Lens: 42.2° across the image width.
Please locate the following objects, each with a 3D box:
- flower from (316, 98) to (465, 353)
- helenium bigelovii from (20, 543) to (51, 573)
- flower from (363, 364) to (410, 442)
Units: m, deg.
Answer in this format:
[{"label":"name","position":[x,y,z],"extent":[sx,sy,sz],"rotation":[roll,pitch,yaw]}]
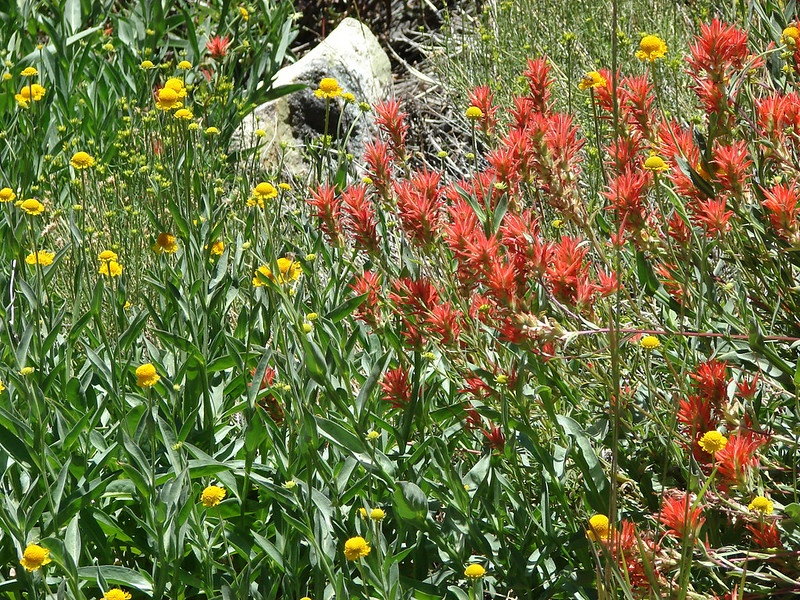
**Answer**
[{"label":"flower","position":[-0.047,-0.157,2.997],"extent":[0.474,0.629,0.305],"rotation":[-20,-1,-5]},{"label":"helenium bigelovii","position":[-0.860,0.595,2.450],"extent":[0.061,0.081,0.028],"rotation":[-2,-23,1]},{"label":"flower","position":[-0.036,0.271,2.893],"extent":[0.094,0.133,0.098],"rotation":[-20,13,-6]}]
